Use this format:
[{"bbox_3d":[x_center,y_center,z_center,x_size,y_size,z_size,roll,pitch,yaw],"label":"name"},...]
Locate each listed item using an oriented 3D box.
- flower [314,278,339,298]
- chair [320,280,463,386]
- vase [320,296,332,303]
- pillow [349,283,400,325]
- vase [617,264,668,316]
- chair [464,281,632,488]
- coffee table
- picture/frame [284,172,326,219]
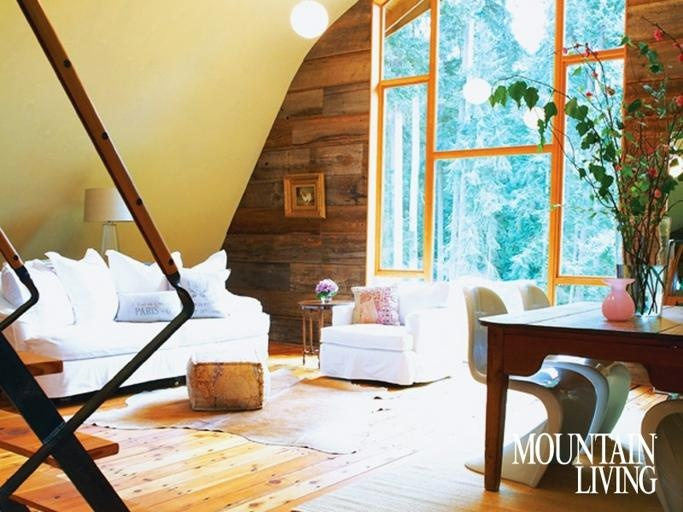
[{"bbox_3d":[-0.184,0.374,5.543,0.239,0.157,0.229,2,-6,-13],"label":"flower"},{"bbox_3d":[0.579,0.810,5.059,1.184,0.977,1.173,-4,-9,33],"label":"chair"},{"bbox_3d":[-0.183,0.497,5.462,0.079,0.045,0.075,1,3,13],"label":"vase"},{"bbox_3d":[0.363,0.526,5.075,0.470,0.384,0.153,0,-6,10],"label":"pillow"},{"bbox_3d":[1.584,0.176,2.600,0.282,0.311,0.273,2,-2,-36],"label":"vase"},{"bbox_3d":[1.317,0.833,3.298,0.996,1.444,1.631,-3,-3,38],"label":"chair"},{"bbox_3d":[-0.327,0.896,6.018,0.770,0.703,0.741,0,-1,-22],"label":"coffee table"},{"bbox_3d":[-0.476,-0.833,6.514,0.732,0.643,0.075,0,1,29],"label":"picture/frame"}]
